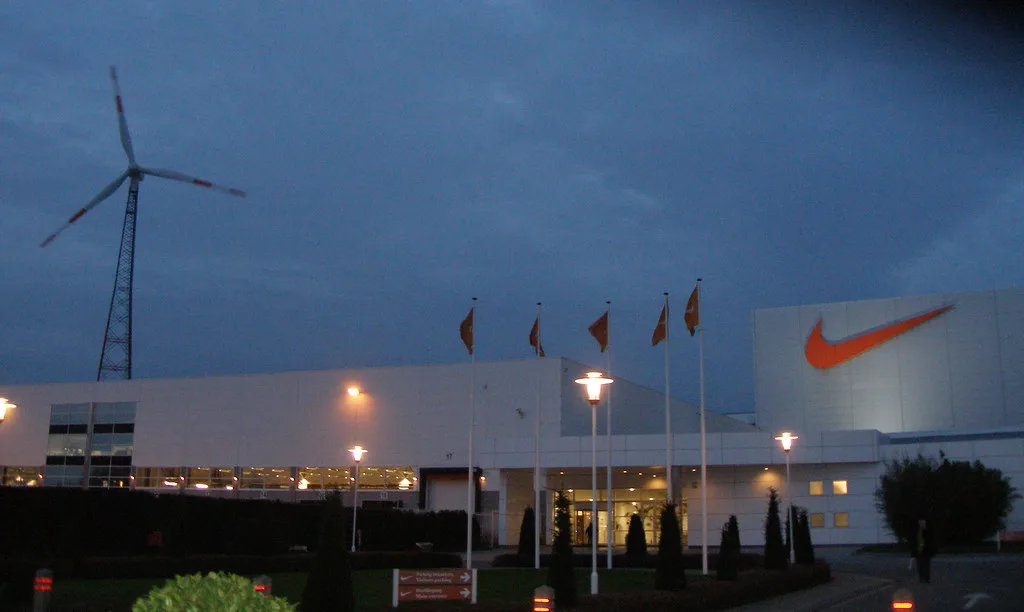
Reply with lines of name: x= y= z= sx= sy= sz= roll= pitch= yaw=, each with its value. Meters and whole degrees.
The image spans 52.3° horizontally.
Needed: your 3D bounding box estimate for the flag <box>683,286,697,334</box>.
flag: x=10.149 y=0.307 z=59.038 sx=0.625 sy=2.603 sz=0.873 roll=5 pitch=-16 yaw=-24
